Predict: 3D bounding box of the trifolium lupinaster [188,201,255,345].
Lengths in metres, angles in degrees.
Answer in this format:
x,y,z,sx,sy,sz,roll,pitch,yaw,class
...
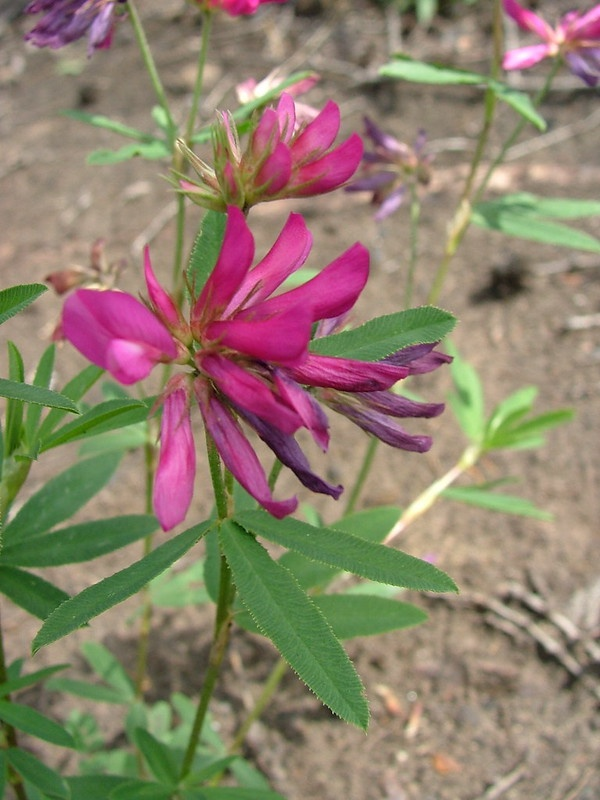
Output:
x,y,z,sx,sy,sz,roll,pitch,yaw,class
-0.102,-0.154,0.980,0.036,0.060,0.171,28,114,40,trifolium lupinaster

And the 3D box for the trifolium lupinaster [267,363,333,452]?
x,y,z,sx,sy,sz,roll,pitch,yaw,class
0.004,0.009,0.939,0.034,0.046,0.125,-44,55,11,trifolium lupinaster

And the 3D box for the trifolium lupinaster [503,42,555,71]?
x,y,z,sx,sy,sz,roll,pitch,yaw,class
0.389,-0.594,1.384,0.092,0.021,0.045,-20,83,-29,trifolium lupinaster

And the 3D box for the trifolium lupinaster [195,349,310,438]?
x,y,z,sx,sy,sz,roll,pitch,yaw,class
-0.068,-0.013,0.990,0.166,0.056,0.054,30,90,26,trifolium lupinaster
